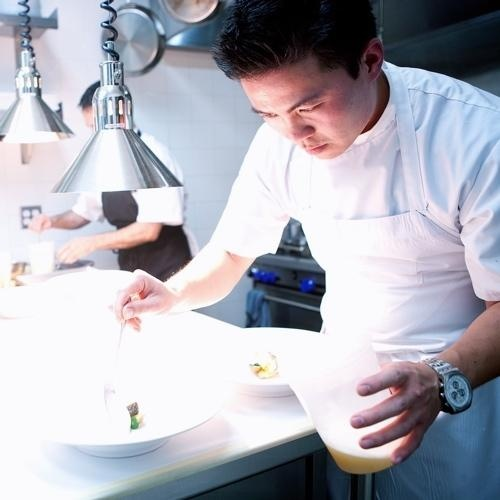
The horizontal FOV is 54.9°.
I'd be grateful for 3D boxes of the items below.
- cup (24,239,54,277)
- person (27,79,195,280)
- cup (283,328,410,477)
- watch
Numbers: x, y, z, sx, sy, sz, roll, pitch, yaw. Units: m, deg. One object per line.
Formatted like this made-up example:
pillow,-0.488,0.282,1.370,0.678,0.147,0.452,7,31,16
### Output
cup,-0.898,0.034,2.110,0.168,0.148,0.110,8,9,32
person,-0.926,-0.419,3.321,1.042,1.647,0.976,-3,5,-28
cup,0.125,0.212,0.638,0.162,0.171,0.091,-7,8,-33
watch,0.296,0.204,0.724,0.066,0.066,0.058,-6,8,-30
